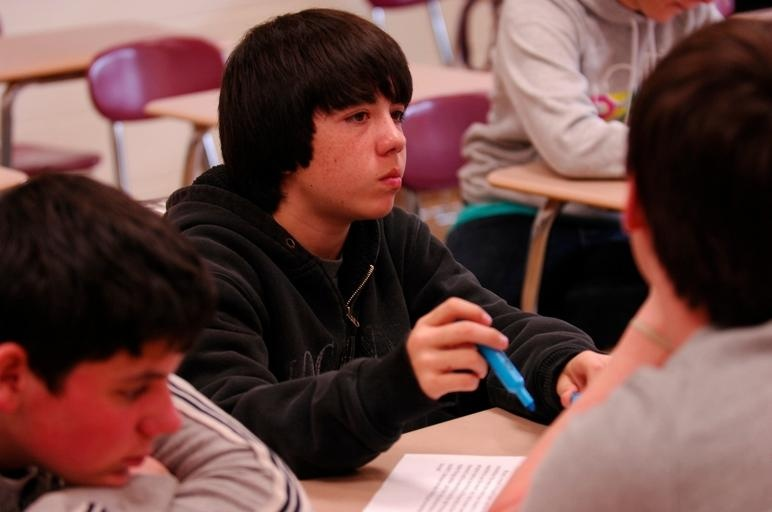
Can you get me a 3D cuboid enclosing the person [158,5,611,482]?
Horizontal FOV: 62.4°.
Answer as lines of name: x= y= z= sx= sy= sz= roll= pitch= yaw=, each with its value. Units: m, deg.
person: x=-0.079 y=-0.123 z=1.313 sx=0.887 sy=0.840 sz=0.763 roll=0 pitch=5 yaw=31
